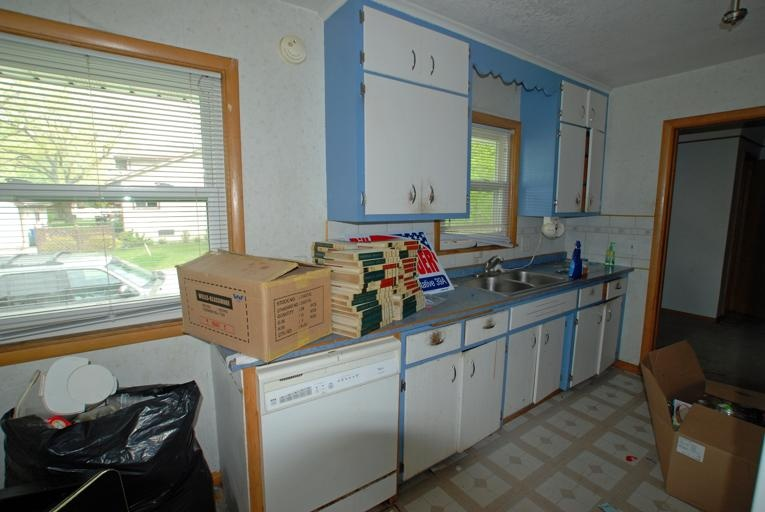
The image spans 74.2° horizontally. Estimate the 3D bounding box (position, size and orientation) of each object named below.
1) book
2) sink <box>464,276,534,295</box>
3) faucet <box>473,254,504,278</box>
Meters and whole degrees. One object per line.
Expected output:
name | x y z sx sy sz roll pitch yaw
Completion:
book | -0.050 0.204 3.394 0.728 0.578 0.363 -5 9 -22
sink | 1.018 0.263 4.403 0.301 0.116 0.237 -4 7 -40
faucet | 0.936 0.100 4.426 0.123 0.165 0.422 8 13 40
